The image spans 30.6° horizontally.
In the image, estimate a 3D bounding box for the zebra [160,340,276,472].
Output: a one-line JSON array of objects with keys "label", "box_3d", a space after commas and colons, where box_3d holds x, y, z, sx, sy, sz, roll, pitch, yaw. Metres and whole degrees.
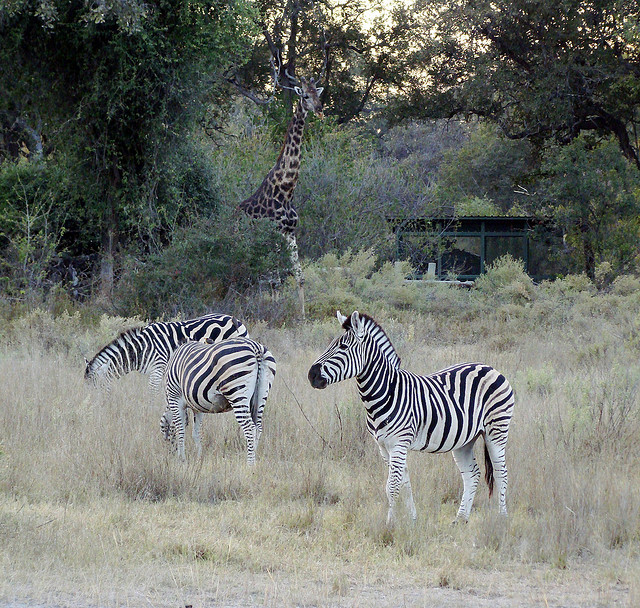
[{"label": "zebra", "box_3d": [-1.324, 1.276, 15.486, 1.437, 1.690, 1.300, 2, 11, -2]}]

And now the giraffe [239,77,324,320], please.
[{"label": "giraffe", "box_3d": [-0.732, -2.439, 24.184, 1.492, 4.388, 2.156, 2, 10, -1]}]
